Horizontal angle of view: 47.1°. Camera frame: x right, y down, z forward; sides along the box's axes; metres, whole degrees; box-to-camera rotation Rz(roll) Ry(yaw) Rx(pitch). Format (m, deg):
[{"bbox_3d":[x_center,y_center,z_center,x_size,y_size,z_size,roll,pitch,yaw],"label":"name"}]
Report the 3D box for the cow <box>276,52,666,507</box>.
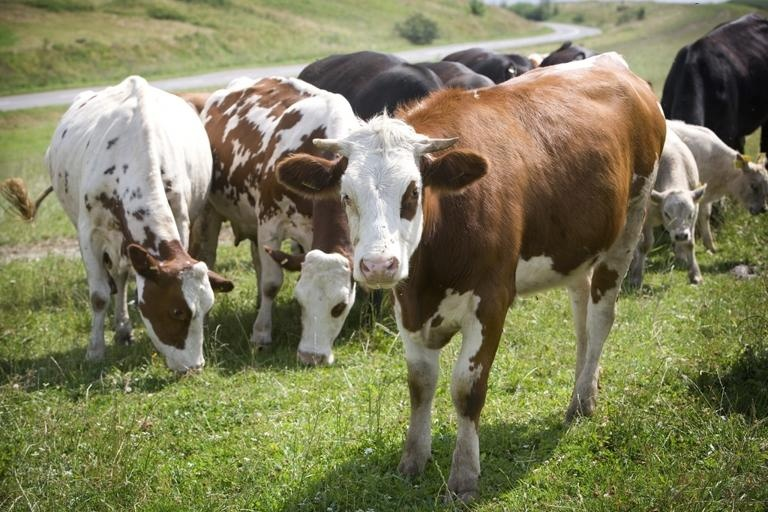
[{"bbox_3d":[1.348,0.128,10.850,4.329,4.757,1.812,-10,18,-35],"label":"cow"}]
